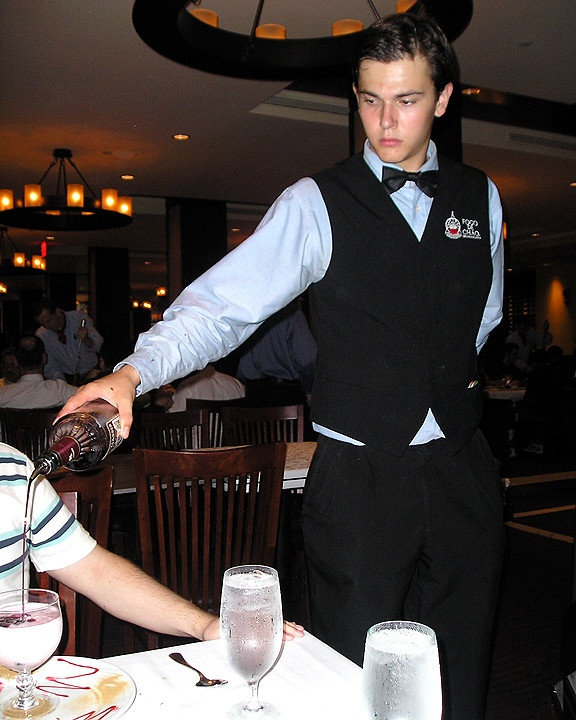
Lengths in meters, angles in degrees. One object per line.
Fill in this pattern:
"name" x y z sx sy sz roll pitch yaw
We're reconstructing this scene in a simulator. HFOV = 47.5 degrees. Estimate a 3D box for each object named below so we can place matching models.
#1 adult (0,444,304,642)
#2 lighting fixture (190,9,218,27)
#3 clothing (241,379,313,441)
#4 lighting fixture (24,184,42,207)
"adult" -0.272 0.263 1.383 0.432 0.596 0.368 0 4 -4
"lighting fixture" -0.476 -1.912 3.702 0.138 0.091 0.122 -2 33 -5
"clothing" -0.070 0.338 4.965 0.529 0.789 0.533 0 -9 1
"lighting fixture" -2.478 -1.597 6.372 0.139 0.222 0.225 1 3 -25
